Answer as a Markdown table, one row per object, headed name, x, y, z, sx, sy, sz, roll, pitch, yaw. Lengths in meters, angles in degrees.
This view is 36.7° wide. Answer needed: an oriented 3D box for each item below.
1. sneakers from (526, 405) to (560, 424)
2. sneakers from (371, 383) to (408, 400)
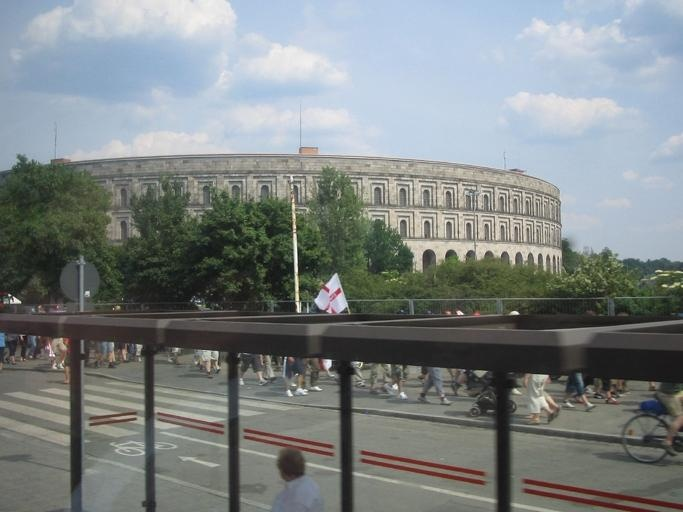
| name | x | y | z | sx | sy | sz | roll | pitch | yaw |
| --- | --- | --- | --- | --- | --- | --- | --- | --- | --- |
| sneakers | 1.223 | 0.953 | 6.272 | 0.074 | 0.084 | 0.215 | -3 | -8 | -29 |
| sneakers | 0.329 | 0.881 | 6.751 | 0.201 | 0.067 | 0.086 | 15 | 34 | 30 |
